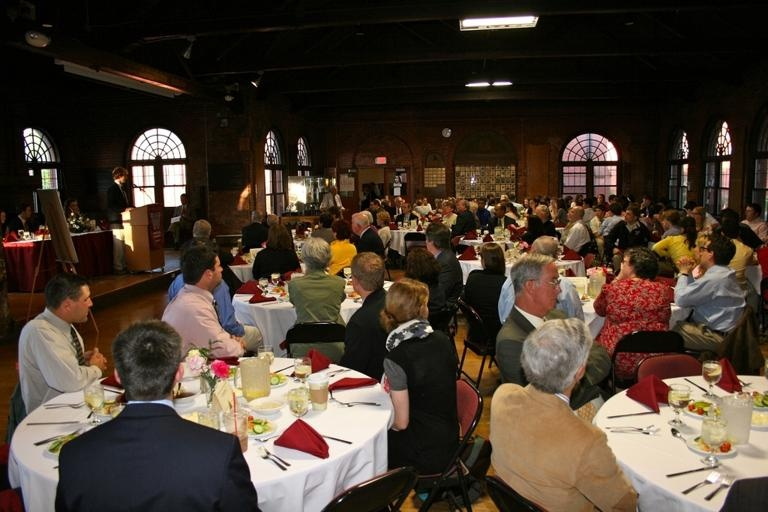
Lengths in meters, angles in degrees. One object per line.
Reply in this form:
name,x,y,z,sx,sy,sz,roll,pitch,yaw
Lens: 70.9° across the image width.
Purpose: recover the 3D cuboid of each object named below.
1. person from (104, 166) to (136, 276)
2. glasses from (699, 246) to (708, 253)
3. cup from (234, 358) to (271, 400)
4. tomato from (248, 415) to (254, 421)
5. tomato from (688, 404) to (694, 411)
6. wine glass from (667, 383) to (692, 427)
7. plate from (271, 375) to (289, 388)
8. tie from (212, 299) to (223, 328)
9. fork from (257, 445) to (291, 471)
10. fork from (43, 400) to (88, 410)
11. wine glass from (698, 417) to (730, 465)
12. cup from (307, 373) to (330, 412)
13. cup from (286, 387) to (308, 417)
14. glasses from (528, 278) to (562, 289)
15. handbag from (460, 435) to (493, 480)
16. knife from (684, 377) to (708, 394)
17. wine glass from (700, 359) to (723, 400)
person,-4.967,-0.678,10.159,0.501,1.947,0.551,0,9,-8
glasses,2.878,-0.056,4.801,0.069,0.022,0.072,8,-5,6
cup,-0.777,0.749,3.259,0.188,0.249,0.171,0,11,0
tomato,-0.750,0.906,3.023,0.028,0.027,0.028,1,11,-26
tomato,1.795,0.874,3.121,0.031,0.031,0.031,8,-16,-18
wine glass,1.661,0.837,3.032,0.120,0.203,0.130,2,0,-31
plate,-0.674,0.789,3.456,0.100,0.047,0.151,-1,5,-11
tie,-1.295,0.447,4.153,0.033,0.059,0.273,-34,17,-7
fork,-0.559,1.000,2.722,0.235,0.035,0.064,16,25,42
fork,-1.919,0.891,3.233,0.307,0.049,0.042,8,32,-8
wine glass,1.716,0.922,2.767,0.120,0.214,0.270,5,7,38
cup,-0.384,0.798,3.154,0.139,0.185,0.143,-2,-1,0
cup,-0.483,0.814,3.104,0.144,0.166,0.142,-2,8,0
glasses,1.084,0.185,3.567,0.247,0.065,0.058,-2,6,-19
handbag,0.594,1.273,3.441,0.179,0.263,0.155,2,-32,17
knife,2.001,0.807,3.460,0.024,0.014,0.241,-24,23,-4
wine glass,2.018,0.739,3.284,0.096,0.214,0.400,4,6,33
